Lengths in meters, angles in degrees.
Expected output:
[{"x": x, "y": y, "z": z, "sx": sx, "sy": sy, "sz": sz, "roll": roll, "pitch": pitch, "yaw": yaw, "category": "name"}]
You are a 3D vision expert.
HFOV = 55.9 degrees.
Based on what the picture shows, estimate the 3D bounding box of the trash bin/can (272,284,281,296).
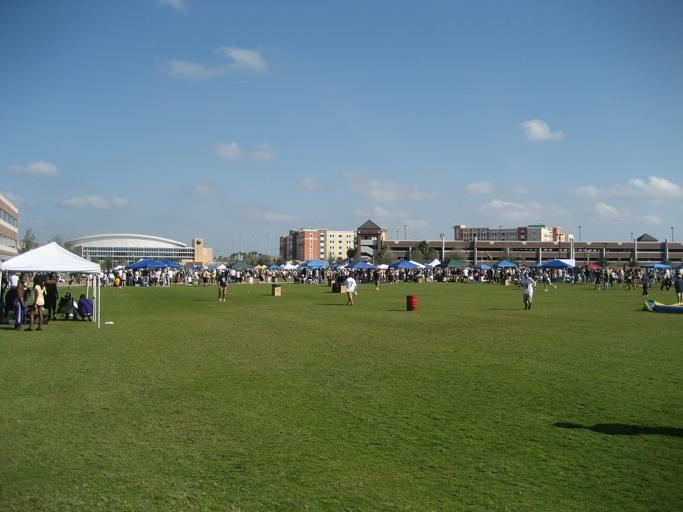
[{"x": -4.330, "y": 2.356, "z": 42.919, "sx": 0.599, "sy": 0.992, "sz": 1.124, "roll": -1, "pitch": 4, "yaw": -6, "category": "trash bin/can"}]

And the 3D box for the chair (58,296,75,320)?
[{"x": -10.483, "y": 2.044, "z": 24.484, "sx": 0.855, "sy": 0.964, "sz": 0.546, "roll": 2, "pitch": -4, "yaw": -9, "category": "chair"}]
